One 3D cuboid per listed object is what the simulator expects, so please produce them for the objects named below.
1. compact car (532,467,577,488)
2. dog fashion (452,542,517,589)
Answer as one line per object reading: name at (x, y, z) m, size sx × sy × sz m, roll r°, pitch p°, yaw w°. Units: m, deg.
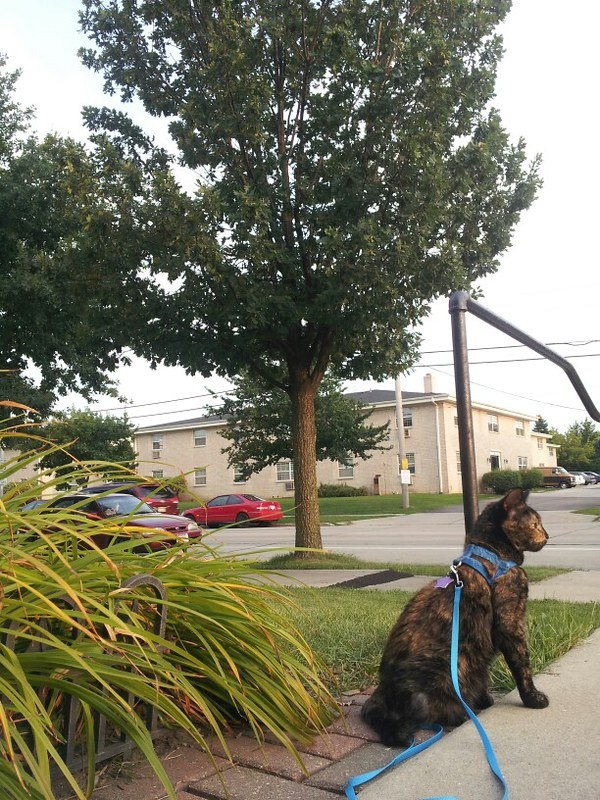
compact car at (20.482, 6.218, 54.932) m, size 2.752 × 1.387 × 2.054 m, roll -3°, pitch -5°, yaw 28°
dog fashion at (0.771, 0.684, 2.915) m, size 0.179 × 0.061 × 0.181 m, roll -33°, pitch 44°, yaw -33°
